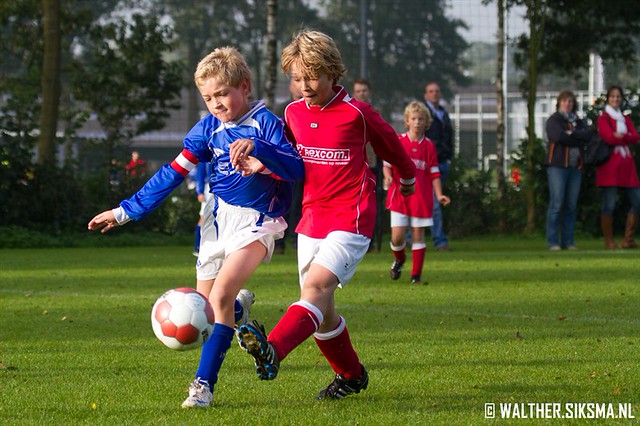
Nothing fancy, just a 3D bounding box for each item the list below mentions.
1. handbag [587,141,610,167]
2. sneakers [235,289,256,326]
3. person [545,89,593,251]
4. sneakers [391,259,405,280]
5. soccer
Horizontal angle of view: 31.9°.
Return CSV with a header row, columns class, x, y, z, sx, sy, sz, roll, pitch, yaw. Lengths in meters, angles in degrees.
class,x,y,z,sx,sy,sz,roll,pitch,yaw
handbag,5.186,-1.153,20.926,0.400,0.487,0.273,7,11,24
sneakers,-0.976,1.178,14.573,0.181,0.516,0.236,9,14,7
person,4.581,-0.798,20.919,0.770,2.972,0.699,-2,14,-5
sneakers,1.257,0.891,18.223,0.124,0.376,0.160,10,19,10
soccer,-1.628,1.327,14.019,0.840,0.747,0.759,-9,-22,3
